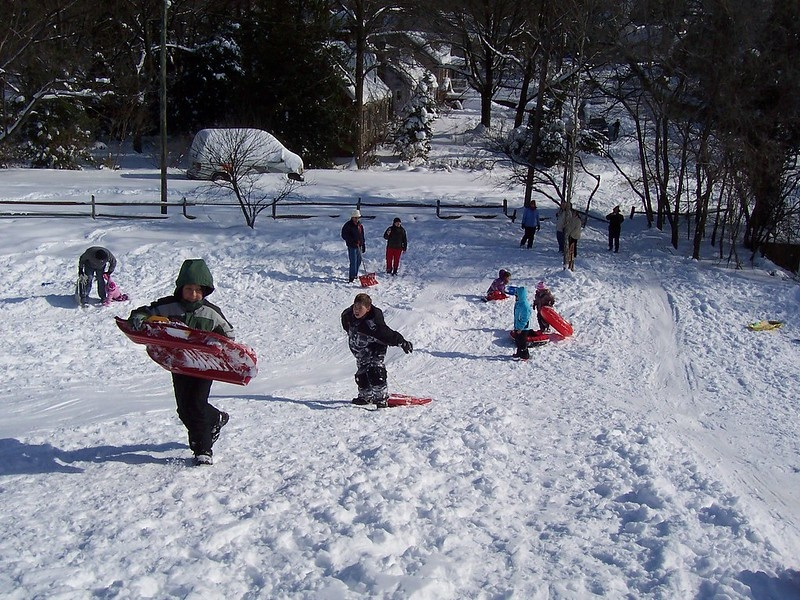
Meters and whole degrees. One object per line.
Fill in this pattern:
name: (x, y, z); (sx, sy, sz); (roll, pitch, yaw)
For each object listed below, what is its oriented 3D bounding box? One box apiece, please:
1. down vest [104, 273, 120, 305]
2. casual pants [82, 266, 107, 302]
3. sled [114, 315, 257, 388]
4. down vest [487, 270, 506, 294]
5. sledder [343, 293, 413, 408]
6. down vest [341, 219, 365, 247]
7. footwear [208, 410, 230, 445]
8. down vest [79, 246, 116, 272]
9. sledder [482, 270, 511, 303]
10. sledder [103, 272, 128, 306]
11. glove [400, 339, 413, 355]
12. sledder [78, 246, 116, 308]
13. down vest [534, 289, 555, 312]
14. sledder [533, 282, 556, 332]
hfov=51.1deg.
down vest: (-7.436, -0.248, 21.463); (0.335, 0.628, 0.543); (9, 48, -12)
casual pants: (-7.747, -0.404, 21.086); (0.772, 0.196, 0.836); (8, 58, -18)
sled: (-3.406, 0.885, 13.472); (1.854, 1.165, 0.343); (24, 55, -7)
down vest: (2.821, -0.485, 24.358); (0.347, 0.834, 0.373); (9, 26, -26)
sledder: (-0.475, 1.174, 17.736); (1.676, 2.075, 0.641); (22, 39, 33)
down vest: (-1.325, -1.863, 23.729); (0.619, 0.830, 0.336); (-1, 15, -19)
footwear: (-3.123, 2.099, 14.144); (0.207, 0.290, 0.637); (0, 53, 24)
down vest: (-7.611, -0.945, 20.930); (0.819, 0.700, 0.454); (-4, 16, -30)
sledder: (2.767, -0.444, 24.137); (0.795, 1.005, 0.921); (-2, 19, -7)
sledder: (-7.392, -0.299, 21.454); (0.644, 0.756, 0.537); (0, 23, -9)
glove: (0.122, 0.883, 16.099); (0.216, 0.271, 0.472); (6, 14, 7)
sledder: (-7.689, -0.627, 21.124); (0.887, 1.806, 0.702); (6, 37, -22)
down vest: (3.744, 0.035, 21.676); (0.515, 0.538, 0.293); (2, 24, 6)
sledder: (3.739, 0.111, 21.779); (0.547, 1.449, 0.467); (-19, 43, -9)
